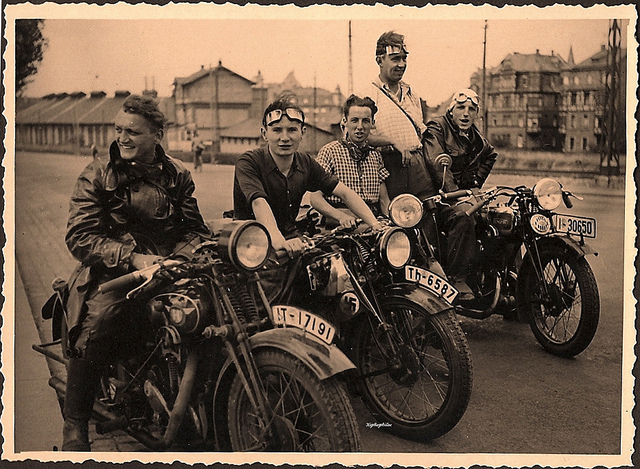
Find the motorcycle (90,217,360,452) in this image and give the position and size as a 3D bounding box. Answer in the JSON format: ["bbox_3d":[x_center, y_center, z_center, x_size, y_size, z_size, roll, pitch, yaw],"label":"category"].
[{"bbox_3d":[-0.751,0.893,5.751,2.056,1.606,0.655,4,14,23],"label":"motorcycle"}]

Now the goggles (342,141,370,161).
[{"bbox_3d":[0.356,-0.796,7.621,0.154,0.108,0.201,3,30,-49],"label":"goggles"}]

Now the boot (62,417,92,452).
[{"bbox_3d":[-1.871,1.525,6.097,0.238,0.392,0.224,1,-8,-11],"label":"boot"}]

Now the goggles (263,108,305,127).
[{"bbox_3d":[-0.295,-0.980,6.421,0.312,0.142,0.120,-3,13,-4],"label":"goggles"}]
